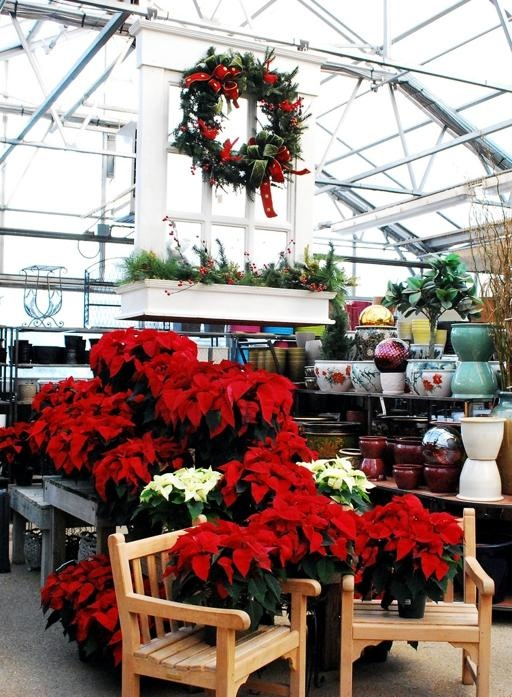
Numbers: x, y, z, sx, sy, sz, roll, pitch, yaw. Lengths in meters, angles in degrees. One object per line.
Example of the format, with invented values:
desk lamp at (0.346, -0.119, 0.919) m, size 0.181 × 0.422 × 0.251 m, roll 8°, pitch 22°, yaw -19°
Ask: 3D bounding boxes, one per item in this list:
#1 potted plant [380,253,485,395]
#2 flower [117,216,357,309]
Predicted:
potted plant at (0.798, -0.152, 3.056) m, size 0.473 × 0.505 × 0.441 m, roll 0°, pitch -2°, yaw 9°
flower at (-0.068, -0.439, 3.849) m, size 1.155 × 0.355 × 0.304 m, roll 3°, pitch 16°, yaw -13°
